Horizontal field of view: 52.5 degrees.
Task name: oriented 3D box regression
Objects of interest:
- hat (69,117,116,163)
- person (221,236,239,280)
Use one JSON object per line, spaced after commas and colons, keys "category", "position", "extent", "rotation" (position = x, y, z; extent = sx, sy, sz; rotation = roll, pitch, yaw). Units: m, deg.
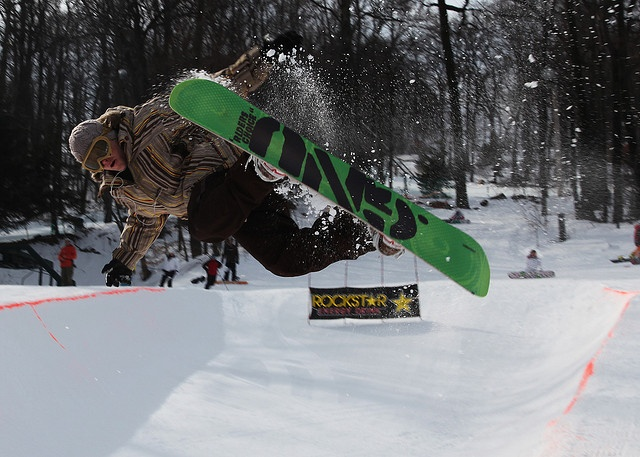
{"category": "hat", "position": [-3.126, -1.255, 8.993], "extent": [0.546, 0.449, 0.609], "rotation": [22, 37, 13]}
{"category": "person", "position": [-2.380, 0.831, 17.210], "extent": [0.207, 1.418, 0.348], "rotation": [-8, -13, 38]}
